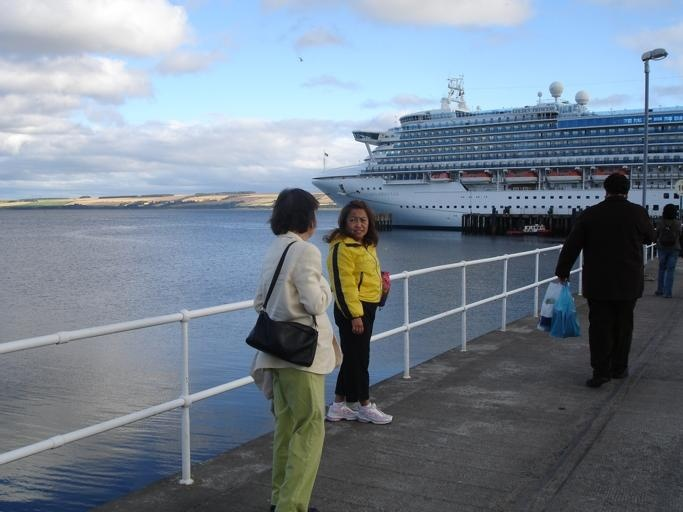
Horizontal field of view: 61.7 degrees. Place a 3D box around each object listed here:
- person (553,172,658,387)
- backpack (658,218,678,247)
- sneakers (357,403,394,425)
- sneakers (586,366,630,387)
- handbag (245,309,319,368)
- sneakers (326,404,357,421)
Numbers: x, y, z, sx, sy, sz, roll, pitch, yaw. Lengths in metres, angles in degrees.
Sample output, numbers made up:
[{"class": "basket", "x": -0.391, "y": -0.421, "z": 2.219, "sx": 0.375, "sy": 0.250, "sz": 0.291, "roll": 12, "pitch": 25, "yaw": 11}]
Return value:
[{"class": "person", "x": 2.783, "y": 0.247, "z": 5.992, "sx": 0.977, "sy": 2.206, "sz": 0.488, "roll": -2, "pitch": 6, "yaw": -12}, {"class": "backpack", "x": 6.601, "y": -0.441, "z": 11.510, "sx": 0.371, "sy": 0.565, "sz": 0.270, "roll": 2, "pitch": 6, "yaw": 28}, {"class": "sneakers", "x": 0.295, "y": 1.410, "z": 5.121, "sx": 0.318, "sy": 0.142, "sz": 0.146, "roll": 2, "pitch": 1, "yaw": 17}, {"class": "sneakers", "x": 2.860, "y": 1.254, "z": 6.001, "sx": 0.557, "sy": 0.218, "sz": 0.180, "roll": 0, "pitch": -11, "yaw": -30}, {"class": "handbag", "x": -0.366, "y": 0.518, "z": 3.522, "sx": 0.427, "sy": 0.352, "sz": 0.180, "roll": -1, "pitch": 6, "yaw": -1}, {"class": "sneakers", "x": -0.002, "y": 1.417, "z": 5.171, "sx": 0.328, "sy": 0.140, "sz": 0.123, "roll": 0, "pitch": -2, "yaw": 5}]
